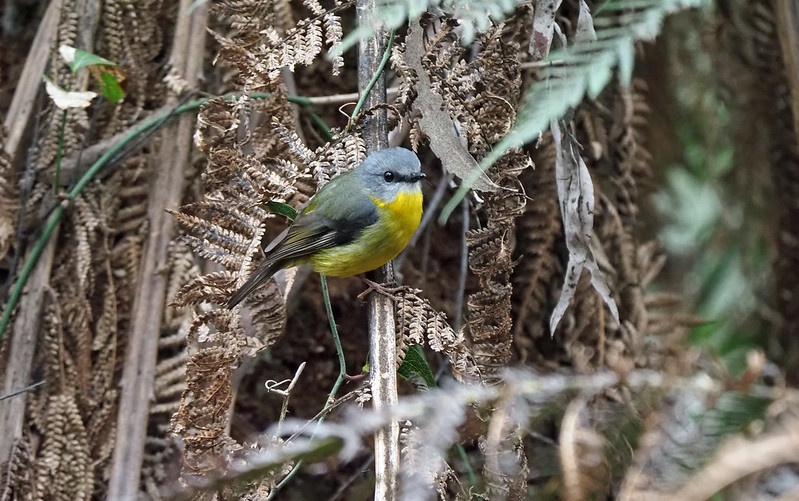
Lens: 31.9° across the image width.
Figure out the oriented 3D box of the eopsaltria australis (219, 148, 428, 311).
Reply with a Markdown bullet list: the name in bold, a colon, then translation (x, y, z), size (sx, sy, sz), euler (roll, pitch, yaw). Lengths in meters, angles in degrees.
- **eopsaltria australis**: translation (-0.265, -0.174, 6.880), size (1.001, 0.797, 0.612), euler (-6, 24, -18)
